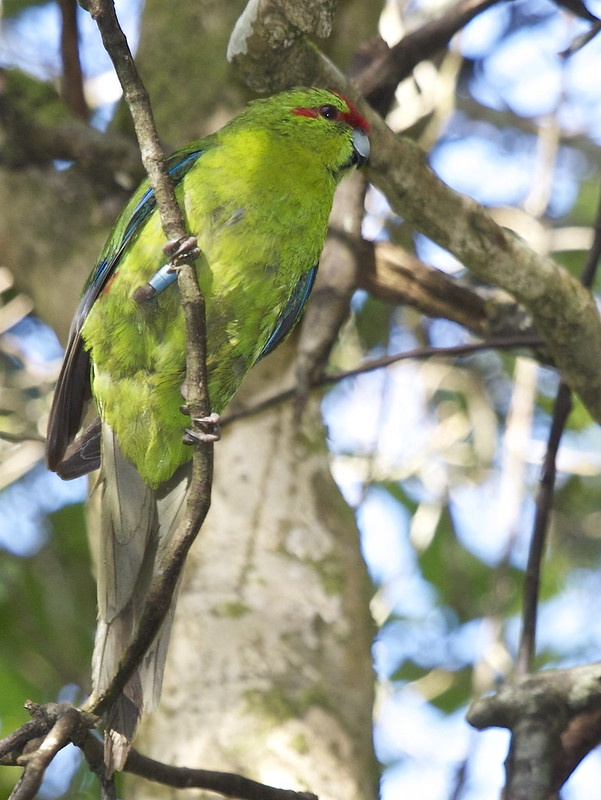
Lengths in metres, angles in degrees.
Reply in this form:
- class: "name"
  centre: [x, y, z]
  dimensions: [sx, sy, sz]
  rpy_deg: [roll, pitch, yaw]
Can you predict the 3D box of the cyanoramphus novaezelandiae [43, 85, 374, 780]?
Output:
- class: "cyanoramphus novaezelandiae"
  centre: [-0.309, -0.020, 4.327]
  dimensions: [0.845, 2.335, 1.112]
  rpy_deg: [13, -15, -20]
